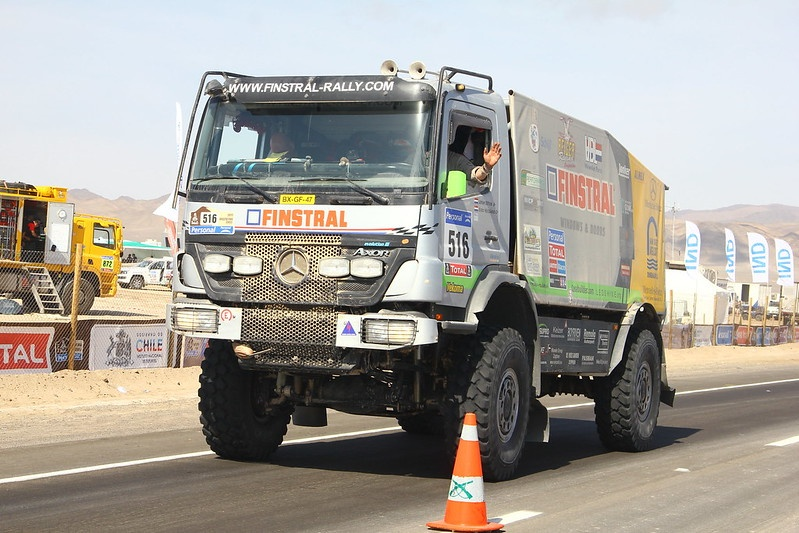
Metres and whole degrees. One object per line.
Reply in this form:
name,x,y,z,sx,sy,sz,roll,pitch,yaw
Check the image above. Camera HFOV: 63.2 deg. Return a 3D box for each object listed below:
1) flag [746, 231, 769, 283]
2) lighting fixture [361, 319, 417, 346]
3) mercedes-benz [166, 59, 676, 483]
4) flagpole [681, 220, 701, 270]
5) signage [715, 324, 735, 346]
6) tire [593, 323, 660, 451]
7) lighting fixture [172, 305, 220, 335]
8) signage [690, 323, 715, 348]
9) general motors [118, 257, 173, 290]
flag,28.801,-0.781,51.925,1.190,4.678,4.234,-5,-10,28
lighting fixture,-0.119,0.745,7.294,0.616,0.303,0.087,-3,-10,15
mercedes-benz,0.659,0.133,11.237,4.475,5.674,8.928,-4,-7,33
flagpole,24.952,-1.574,55.279,1.286,5.158,0.031,-2,-28,31
signage,19.901,4.216,39.720,0.446,1.251,2.399,-8,-12,40
tire,4.176,2.244,11.803,0.735,2.350,2.263,-1,3,36
lighting fixture,-2.538,0.667,8.003,0.720,0.319,0.117,-5,-11,27
signage,17.856,4.075,37.999,2.839,1.318,0.178,9,-13,-44
general motors,-21.100,0.738,54.011,2.316,1.918,4.094,-5,-7,40
